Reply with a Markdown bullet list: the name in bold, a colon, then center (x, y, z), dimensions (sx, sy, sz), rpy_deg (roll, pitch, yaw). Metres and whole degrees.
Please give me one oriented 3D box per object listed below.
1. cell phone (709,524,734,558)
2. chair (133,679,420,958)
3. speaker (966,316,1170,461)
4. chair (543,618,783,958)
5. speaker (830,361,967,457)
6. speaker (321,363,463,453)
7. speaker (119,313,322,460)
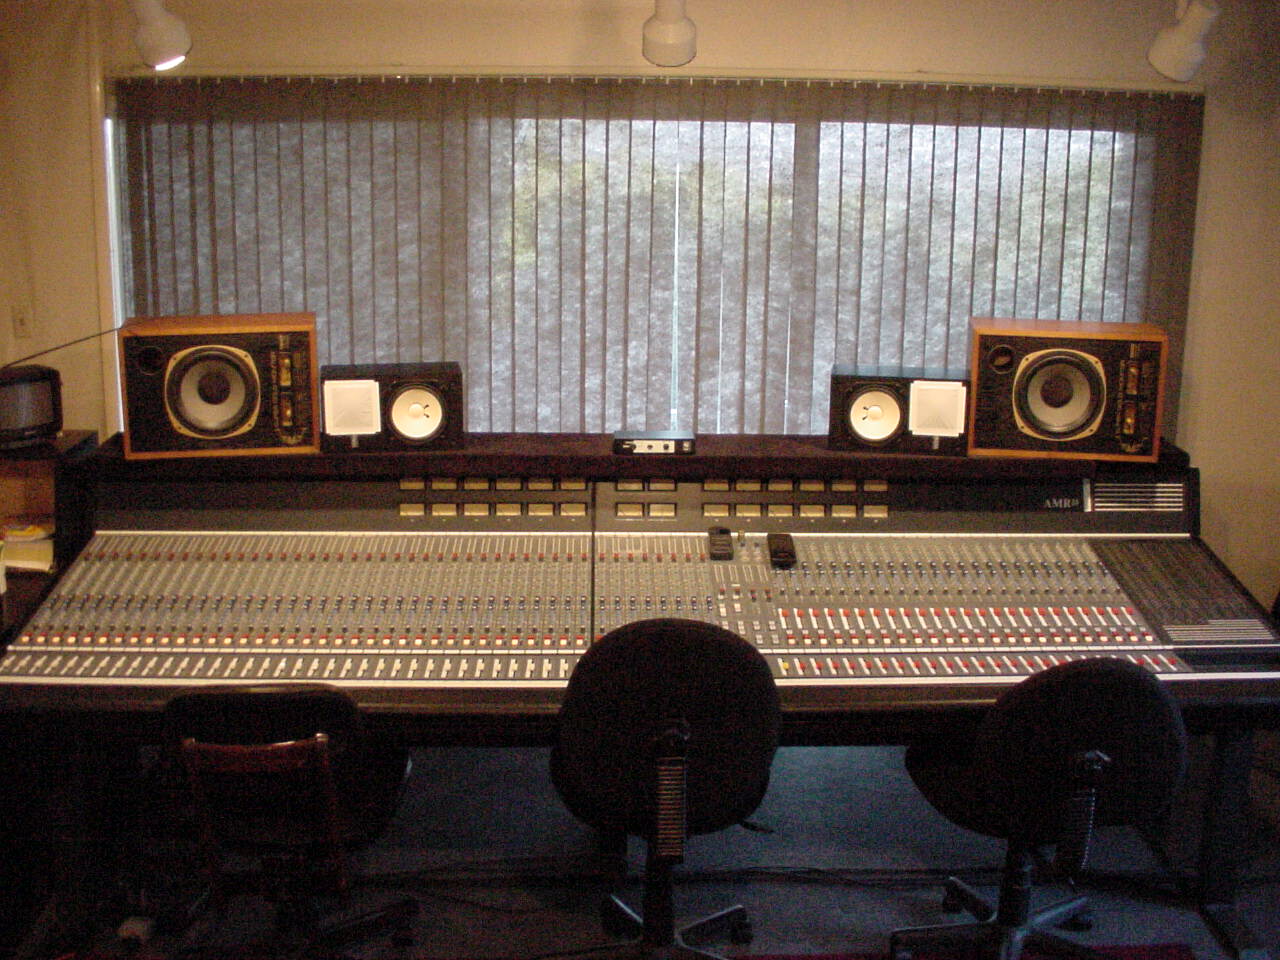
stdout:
- **cell phone**: center (0.244, 0.187, 3.495), dimensions (0.063, 0.086, 0.088), rpy_deg (1, -30, -2)
- **chair**: center (-0.948, 0.823, 3.145), dimensions (0.666, 0.798, 0.644), rpy_deg (1, 12, -2)
- **speaker**: center (1.312, -0.278, 3.700), dimensions (0.607, 0.393, 0.330), rpy_deg (2, 3, -3)
- **chair**: center (0.053, 0.834, 3.037), dimensions (0.583, 1.034, 0.527), rpy_deg (2, 3, -4)
- **speaker**: center (0.830, -0.232, 3.737), dimensions (0.415, 0.247, 0.232), rpy_deg (1, 13, 9)
- **speaker**: center (-0.788, -0.236, 3.680), dimensions (0.471, 0.277, 0.221), rpy_deg (0, 10, 2)
- **speaker**: center (-1.296, -0.274, 3.622), dimensions (0.578, 0.396, 0.301), rpy_deg (-2, 0, -3)
